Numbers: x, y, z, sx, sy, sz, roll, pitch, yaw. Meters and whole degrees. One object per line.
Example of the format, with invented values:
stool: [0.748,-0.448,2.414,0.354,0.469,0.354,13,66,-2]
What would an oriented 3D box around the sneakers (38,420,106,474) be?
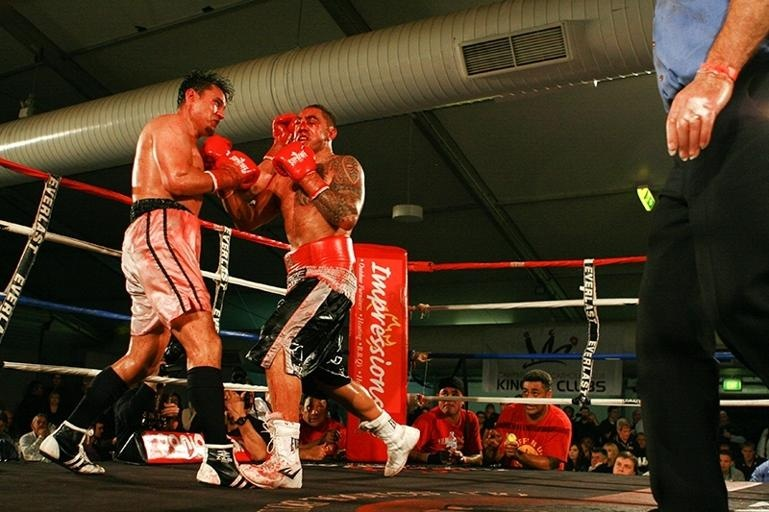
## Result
sneakers: [-1.453,0.906,2.929,0.298,0.231,0.193,10,-23,-18]

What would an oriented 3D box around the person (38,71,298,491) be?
person: [-1.035,0.054,3.038,0.675,1.999,0.721,22,-30,-36]

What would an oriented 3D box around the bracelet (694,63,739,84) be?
bracelet: [0.896,-0.495,1.669,0.080,0.074,0.022,9,-69,-16]

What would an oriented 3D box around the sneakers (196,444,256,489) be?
sneakers: [-0.675,0.902,2.660,0.234,0.174,0.103,4,-23,-2]
